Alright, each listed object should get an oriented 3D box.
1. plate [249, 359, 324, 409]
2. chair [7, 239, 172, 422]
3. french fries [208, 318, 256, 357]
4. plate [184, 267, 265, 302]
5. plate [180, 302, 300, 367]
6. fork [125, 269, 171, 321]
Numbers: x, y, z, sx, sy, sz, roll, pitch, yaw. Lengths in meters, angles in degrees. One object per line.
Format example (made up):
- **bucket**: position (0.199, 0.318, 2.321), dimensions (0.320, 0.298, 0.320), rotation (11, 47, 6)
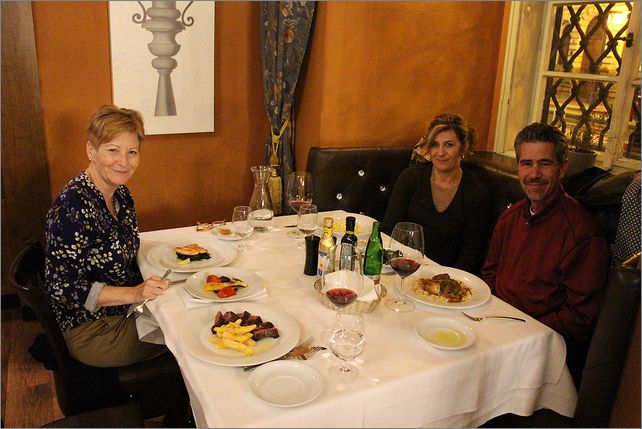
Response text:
- **plate**: position (-0.130, 0.626, 1.755), dimensions (0.263, 0.084, 0.174), rotation (-5, 18, -11)
- **chair**: position (-1.107, 0.576, 2.346), dimensions (0.661, 0.964, 0.541), rotation (-13, 36, -14)
- **french fries**: position (-0.347, 0.476, 1.891), dimensions (0.127, 0.043, 0.121), rotation (5, 35, 4)
- **plate**: position (-0.456, 0.318, 2.212), dimensions (0.194, 0.029, 0.194), rotation (-3, 25, -21)
- **plate**: position (-0.331, 0.501, 1.919), dimensions (0.274, 0.031, 0.277), rotation (-7, 30, -19)
- **fork**: position (-0.801, 0.381, 2.213), dimensions (0.041, 0.319, 0.036), rotation (38, 15, 8)
